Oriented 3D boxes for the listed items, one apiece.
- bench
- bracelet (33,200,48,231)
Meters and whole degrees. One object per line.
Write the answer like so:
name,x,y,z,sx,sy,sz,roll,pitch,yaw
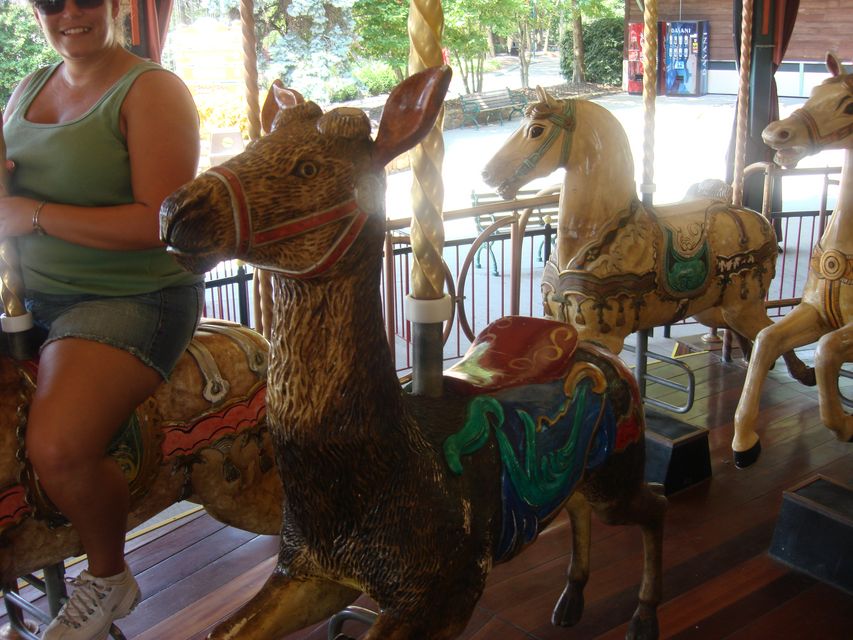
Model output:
bench,2.726,-5.519,18.964,5.085,0.908,2.202,-17,20,-39
bracelet,-1.091,-0.287,2.100,0.044,0.086,0.029,-9,15,-22
